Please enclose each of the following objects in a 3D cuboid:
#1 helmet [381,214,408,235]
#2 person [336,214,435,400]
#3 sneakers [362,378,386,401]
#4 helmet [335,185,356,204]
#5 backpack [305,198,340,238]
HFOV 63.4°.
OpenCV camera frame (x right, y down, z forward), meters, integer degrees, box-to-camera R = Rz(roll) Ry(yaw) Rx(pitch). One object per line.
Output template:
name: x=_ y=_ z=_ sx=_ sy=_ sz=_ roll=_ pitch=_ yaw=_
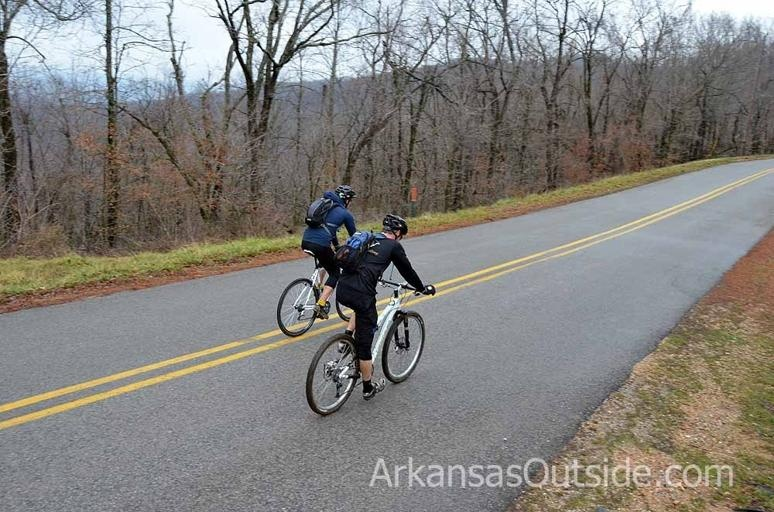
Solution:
helmet: x=0.217 y=-0.642 z=12.328 sx=0.404 sy=0.400 sz=0.468 roll=26 pitch=24 yaw=14
person: x=-0.188 y=0.961 z=12.128 sx=1.456 sy=3.470 sz=0.552 roll=-11 pitch=14 yaw=-33
sneakers: x=-0.159 y=2.499 z=12.185 sx=0.220 sy=0.259 sz=0.635 roll=11 pitch=34 yaw=40
helmet: x=-0.954 y=-1.412 z=14.100 sx=0.523 sy=0.396 sz=0.357 roll=-16 pitch=31 yaw=-19
backpack: x=-1.453 y=-0.947 z=13.751 sx=0.643 sy=0.695 sz=0.317 roll=-6 pitch=12 yaw=-14
